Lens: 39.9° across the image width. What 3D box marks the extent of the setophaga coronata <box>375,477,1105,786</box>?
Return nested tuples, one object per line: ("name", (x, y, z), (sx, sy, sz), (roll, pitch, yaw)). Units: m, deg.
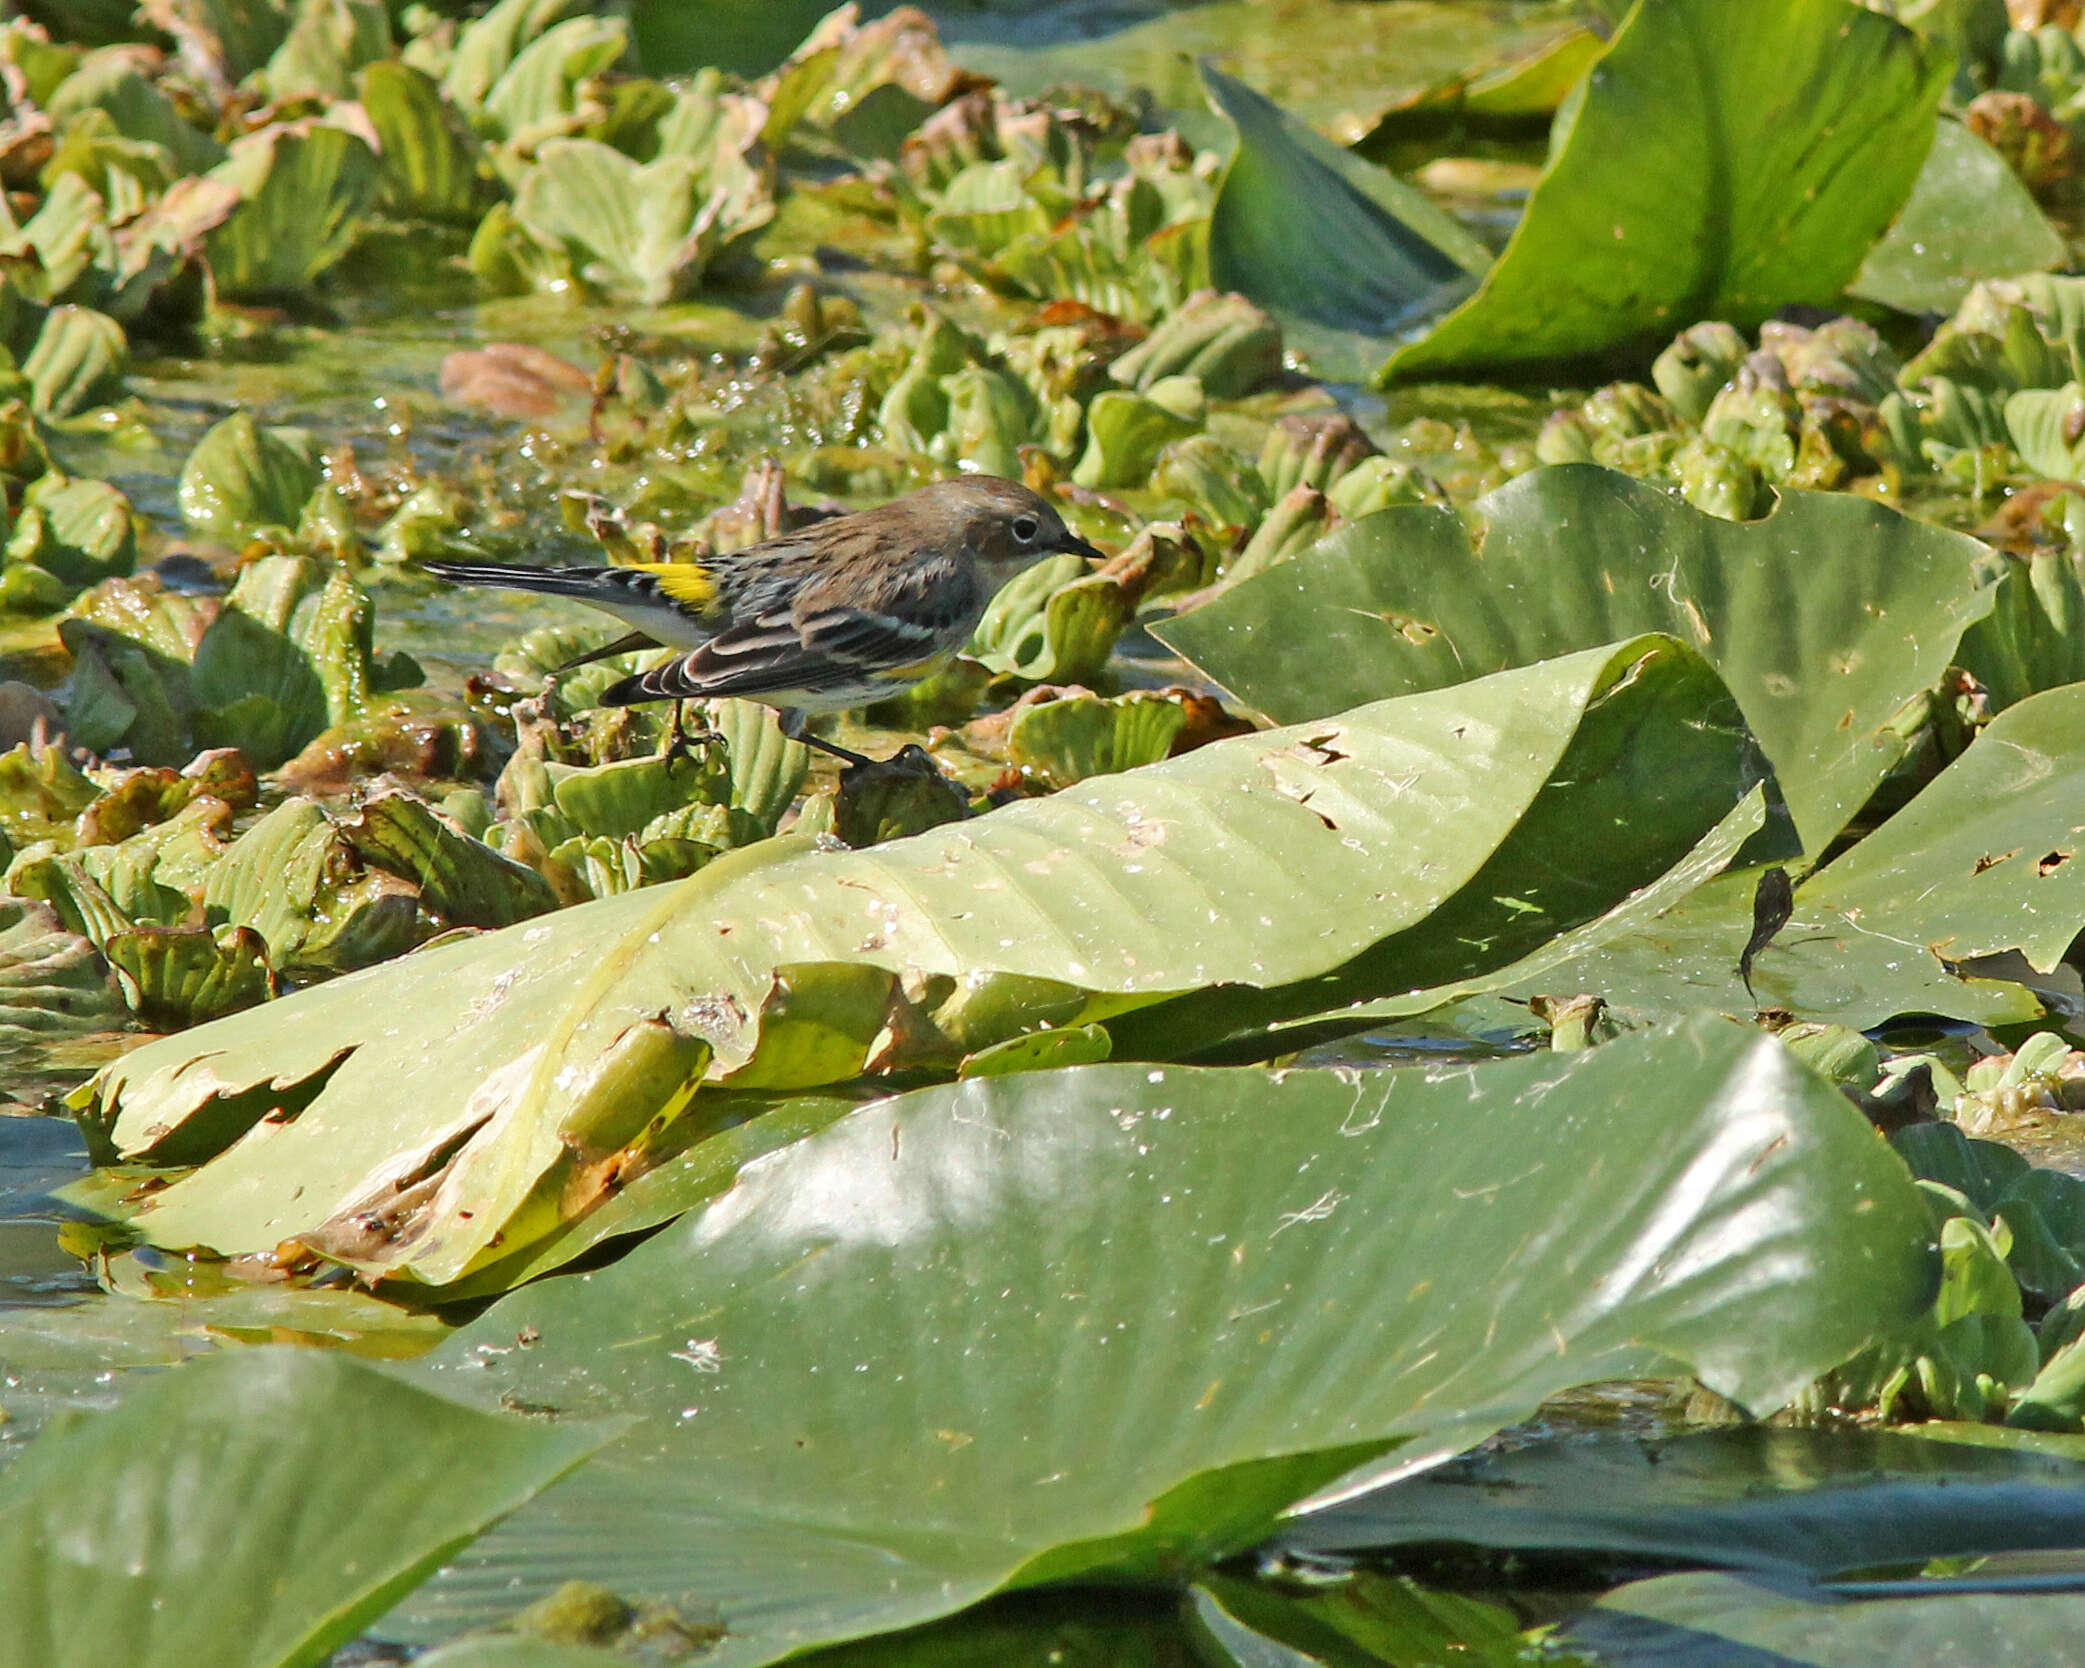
("setophaga coronata", (-0.429, -0.417, 5.542), (1.636, 0.529, 0.466), (2, 21, -15))
